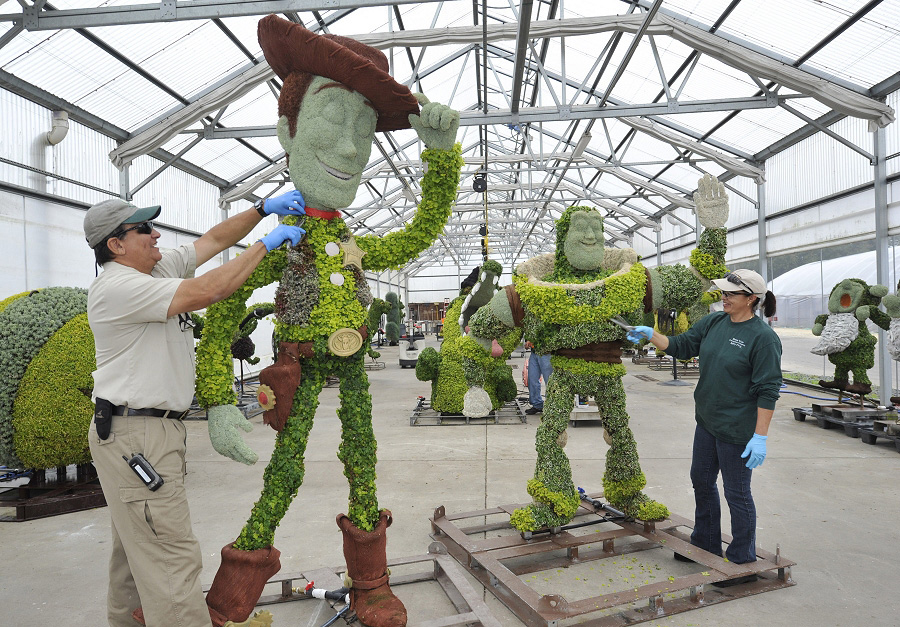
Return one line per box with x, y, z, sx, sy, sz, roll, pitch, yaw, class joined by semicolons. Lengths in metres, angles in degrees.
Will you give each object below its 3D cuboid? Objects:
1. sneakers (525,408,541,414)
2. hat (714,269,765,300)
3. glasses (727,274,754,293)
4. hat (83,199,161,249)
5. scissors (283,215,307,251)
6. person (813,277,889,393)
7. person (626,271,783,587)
1.292;1.539;10.449;0.279;0.111;0.082;-3;-7;24;sneakers
2.344;-0.234;5.401;0.352;0.162;0.228;5;3;2;hat
2.331;-0.220;5.365;0.164;0.062;0.126;39;17;7;glasses
-2.307;-0.653;4.690;0.516;0.242;0.322;-23;18;-14;hat
-1.138;-0.601;4.967;0.087;0.247;0.204;3;24;39;scissors
5.506;0.327;9.172;0.979;1.623;0.794;-4;-4;42;person
2.209;0.838;5.451;0.927;2.364;0.416;-2;-3;25;person
